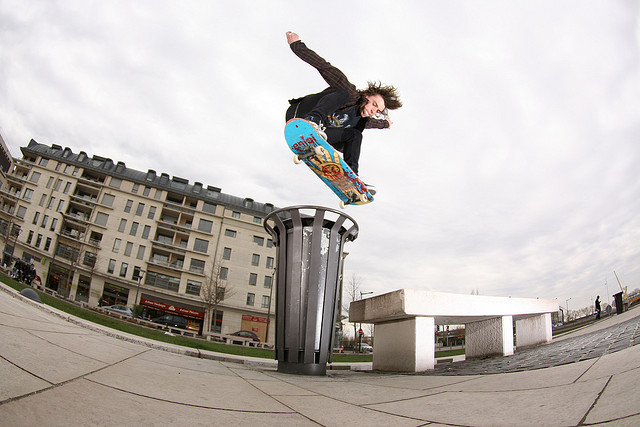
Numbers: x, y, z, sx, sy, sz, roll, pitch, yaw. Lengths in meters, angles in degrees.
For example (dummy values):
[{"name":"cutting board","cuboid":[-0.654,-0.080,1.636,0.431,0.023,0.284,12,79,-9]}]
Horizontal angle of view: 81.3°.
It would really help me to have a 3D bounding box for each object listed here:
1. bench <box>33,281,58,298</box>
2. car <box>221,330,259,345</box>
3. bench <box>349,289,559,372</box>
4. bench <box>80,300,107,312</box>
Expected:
[{"name":"bench","cuboid":[-23.986,6.624,32.590,1.437,1.374,16.321,9,-16,-35]},{"name":"car","cuboid":[-7.300,11.685,34.869,2.898,0.859,1.258,17,-28,-19]},{"name":"bench","cuboid":[3.490,3.335,10.369,3.810,2.271,3.070,2,-14,-12]},{"name":"bench","cuboid":[-19.115,8.072,31.779,1.792,0.723,9.185,6,-15,-30]}]
